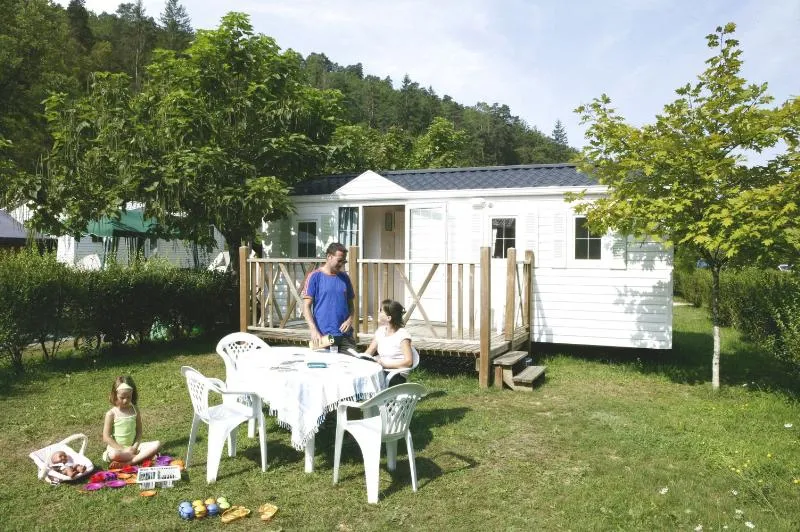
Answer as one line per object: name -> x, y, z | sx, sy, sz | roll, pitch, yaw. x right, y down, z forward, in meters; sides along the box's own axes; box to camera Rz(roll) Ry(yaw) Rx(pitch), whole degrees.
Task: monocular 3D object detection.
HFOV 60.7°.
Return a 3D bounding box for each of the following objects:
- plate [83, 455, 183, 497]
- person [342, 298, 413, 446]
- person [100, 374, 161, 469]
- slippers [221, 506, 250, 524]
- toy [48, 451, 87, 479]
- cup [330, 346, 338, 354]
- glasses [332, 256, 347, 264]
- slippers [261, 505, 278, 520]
plate -> -4.302, 3.273, 10.707 | 0.967, 0.187, 0.592 | -3, 12, -10
person -> -0.372, 1.719, 11.689 | 1.091, 2.106, 0.841 | -5, 6, -44
person -> -4.439, 2.486, 11.021 | 0.797, 1.370, 0.893 | 2, 5, 36
slippers -> -2.456, 3.670, 10.086 | 0.196, 0.074, 0.294 | 13, 16, 39
toy -> -5.243, 3.135, 10.692 | 0.522, 0.205, 0.348 | 15, 4, 39
cup -> -1.143, 1.428, 11.689 | 0.118, 0.095, 0.112 | -1, -2, 0
glasses -> -1.029, -0.106, 11.631 | 0.120, 0.092, 0.116 | -2, 13, -37
slippers -> -1.957, 3.647, 10.109 | 0.170, 0.047, 0.174 | 16, 20, 39
